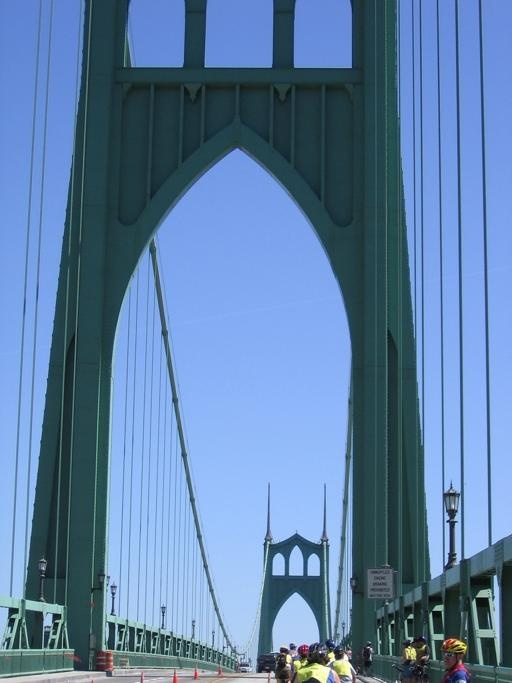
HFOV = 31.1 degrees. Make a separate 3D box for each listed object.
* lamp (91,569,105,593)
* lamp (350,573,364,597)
[{"bbox_3d":[-4.086,6.196,23.742,0.361,0.533,0.259,8,-17,-29],"label":"lamp"},{"bbox_3d":[2.655,6.423,24.322,0.272,0.644,0.687,8,-20,-29],"label":"lamp"}]
